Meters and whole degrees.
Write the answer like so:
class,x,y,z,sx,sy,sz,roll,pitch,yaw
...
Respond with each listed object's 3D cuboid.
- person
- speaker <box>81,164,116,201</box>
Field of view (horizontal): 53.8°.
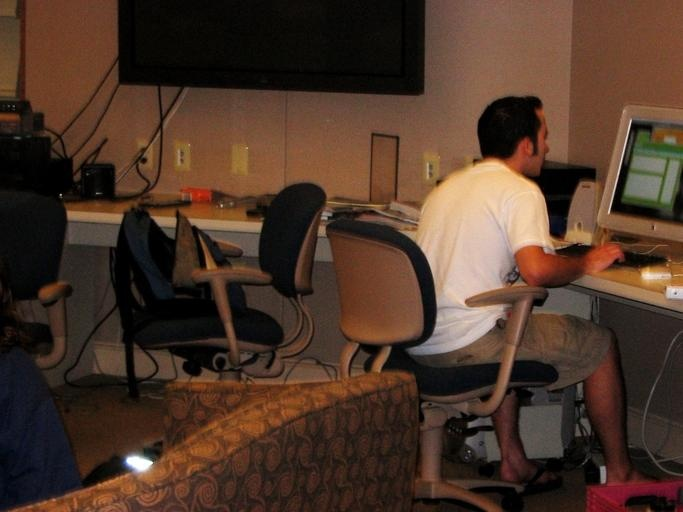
class,x,y,z,sx,sy,sz,roll,pitch,yaw
person,0.611,-0.001,3.014,1.172,2.087,0.974,-6,9,-25
speaker,-1.274,-0.386,3.514,0.167,0.191,0.171,2,4,4
